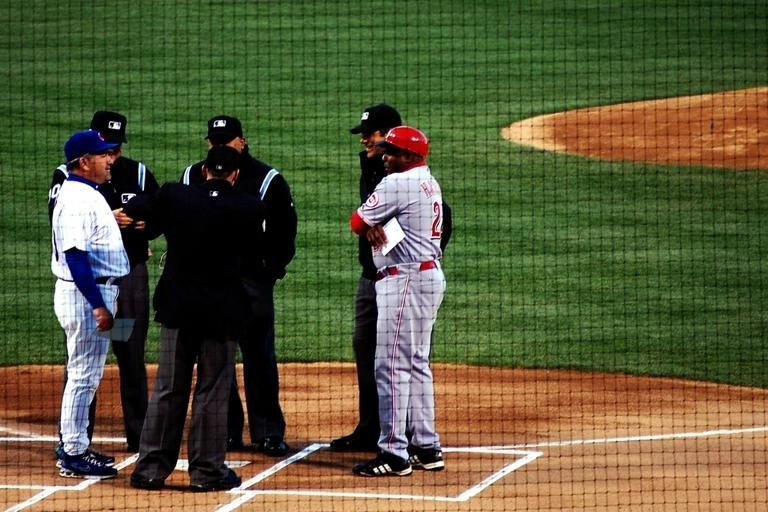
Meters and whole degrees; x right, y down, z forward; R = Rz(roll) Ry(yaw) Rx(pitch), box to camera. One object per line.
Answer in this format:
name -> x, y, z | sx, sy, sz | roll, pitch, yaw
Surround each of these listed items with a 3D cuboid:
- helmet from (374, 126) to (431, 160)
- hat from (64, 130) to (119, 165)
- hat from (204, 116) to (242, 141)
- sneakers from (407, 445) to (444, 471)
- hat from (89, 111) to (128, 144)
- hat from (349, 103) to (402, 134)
helmet -> 0.249, -1.490, 18.746 | 0.627, 0.261, 0.392 | 6, 7, -3
hat -> -3.808, -1.425, 18.681 | 0.626, 0.278, 0.398 | -8, 12, -11
hat -> -2.116, -1.691, 18.954 | 0.437, 0.316, 0.385 | 1, 5, -10
sneakers -> 0.531, 2.613, 18.737 | 0.625, 0.232, 0.215 | 3, 4, 15
hat -> -3.665, -1.784, 19.280 | 0.567, 0.341, 0.667 | 7, 17, -20
hat -> -0.125, -1.829, 19.200 | 0.642, 0.305, 0.381 | -2, 10, -9
